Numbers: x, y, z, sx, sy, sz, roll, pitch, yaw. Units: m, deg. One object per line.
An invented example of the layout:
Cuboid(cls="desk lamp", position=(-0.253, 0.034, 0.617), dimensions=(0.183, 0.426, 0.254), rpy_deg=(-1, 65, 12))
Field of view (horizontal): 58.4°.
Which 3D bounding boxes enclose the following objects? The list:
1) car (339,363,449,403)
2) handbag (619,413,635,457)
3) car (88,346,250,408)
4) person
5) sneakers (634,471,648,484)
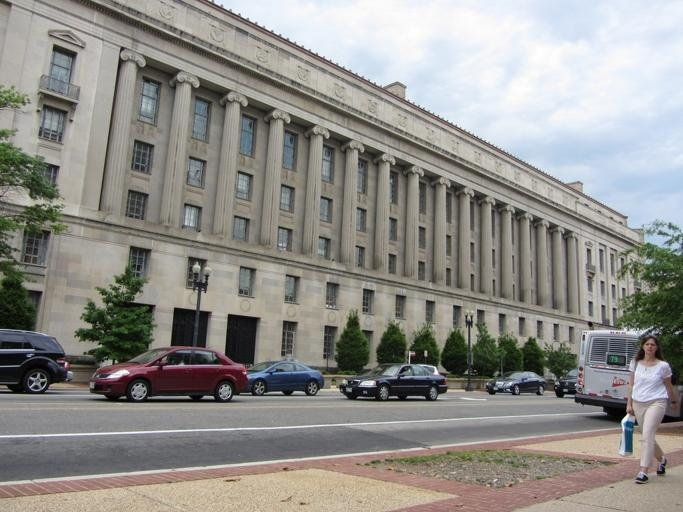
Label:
Cuboid(cls="car", position=(2.501, 5.875, 29.107), dimensions=(4.562, 1.315, 2.013), rpy_deg=(15, -23, -34))
Cuboid(cls="handbag", position=(5.511, 3.452, 11.774), dimensions=(0.241, 0.794, 0.341), rpy_deg=(-2, -12, 24))
Cuboid(cls="car", position=(-6.155, 4.328, 22.171), dimensions=(5.074, 1.617, 2.284), rpy_deg=(13, -20, -32))
Cuboid(cls="person", position=(6.058, 2.953, 11.955), dimensions=(0.826, 2.793, 0.968), rpy_deg=(-2, -13, 26))
Cuboid(cls="sneakers", position=(5.625, 4.160, 11.458), dimensions=(0.187, 0.199, 0.226), rpy_deg=(-3, -13, 30))
